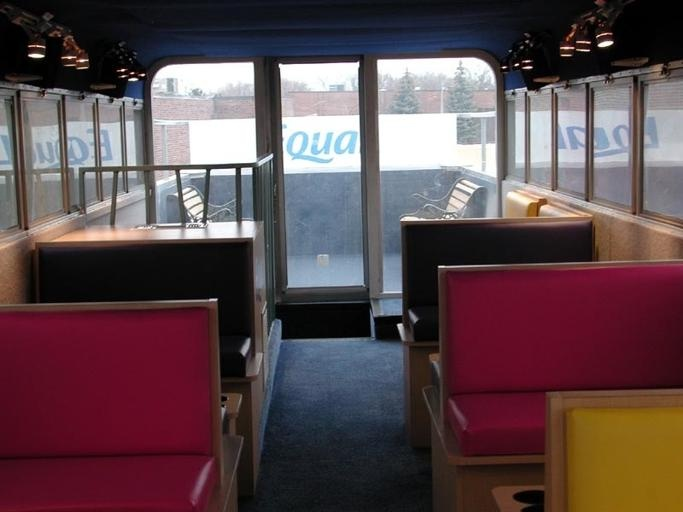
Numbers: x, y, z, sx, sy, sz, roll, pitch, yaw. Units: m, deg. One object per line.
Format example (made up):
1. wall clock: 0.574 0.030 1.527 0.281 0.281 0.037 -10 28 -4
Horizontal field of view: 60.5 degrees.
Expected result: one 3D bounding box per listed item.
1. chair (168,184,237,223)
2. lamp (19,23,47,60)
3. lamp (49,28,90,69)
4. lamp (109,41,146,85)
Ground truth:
1. chair: -1.681 -0.579 7.011 0.800 0.491 0.484 -6 -4 -30
2. lamp: -1.928 -1.304 3.606 0.117 0.203 0.204 0 -3 5
3. lamp: -1.855 -1.416 4.044 0.113 0.228 0.393 5 9 20
4. lamp: -1.931 -1.771 5.291 0.262 0.339 0.307 -3 10 -5
